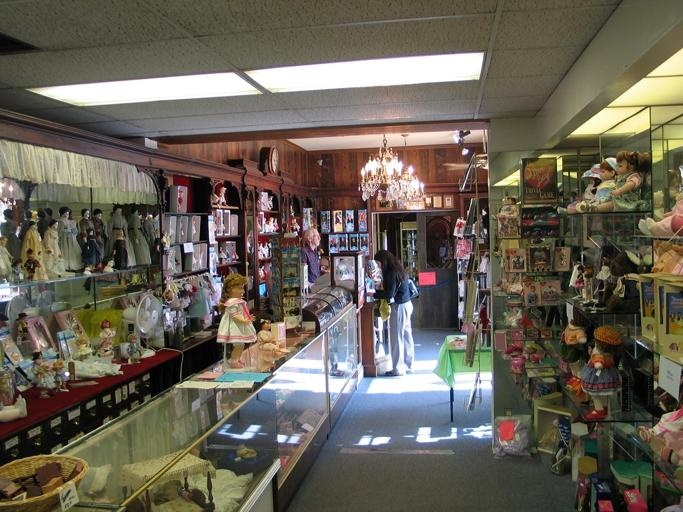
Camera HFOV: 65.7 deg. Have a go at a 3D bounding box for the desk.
[{"bbox_3d":[1.404,1.390,5.650,0.619,0.751,0.556,2,-10,14],"label":"desk"}]

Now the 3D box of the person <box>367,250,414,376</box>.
[{"bbox_3d":[0.709,0.746,7.069,0.520,1.657,0.376,-2,5,-2],"label":"person"}]

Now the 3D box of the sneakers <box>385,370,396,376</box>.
[{"bbox_3d":[0.660,1.567,7.046,0.111,0.039,0.071,-1,7,8],"label":"sneakers"}]
